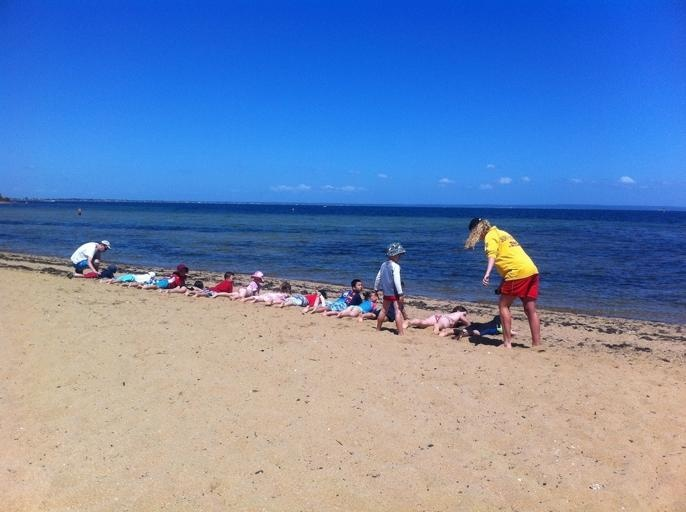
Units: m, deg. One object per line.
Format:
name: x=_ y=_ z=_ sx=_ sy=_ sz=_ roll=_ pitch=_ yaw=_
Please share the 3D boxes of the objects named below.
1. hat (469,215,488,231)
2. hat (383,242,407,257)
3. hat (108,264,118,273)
hat: x=2.477 y=-0.591 z=9.766 sx=0.307 sy=0.167 sz=0.380 roll=-5 pitch=5 yaw=27
hat: x=0.979 y=-0.100 z=10.087 sx=0.286 sy=0.265 sz=0.221 roll=4 pitch=12 yaw=-3
hat: x=-7.383 y=0.407 z=16.988 sx=0.350 sy=0.233 sz=0.316 roll=5 pitch=14 yaw=30
